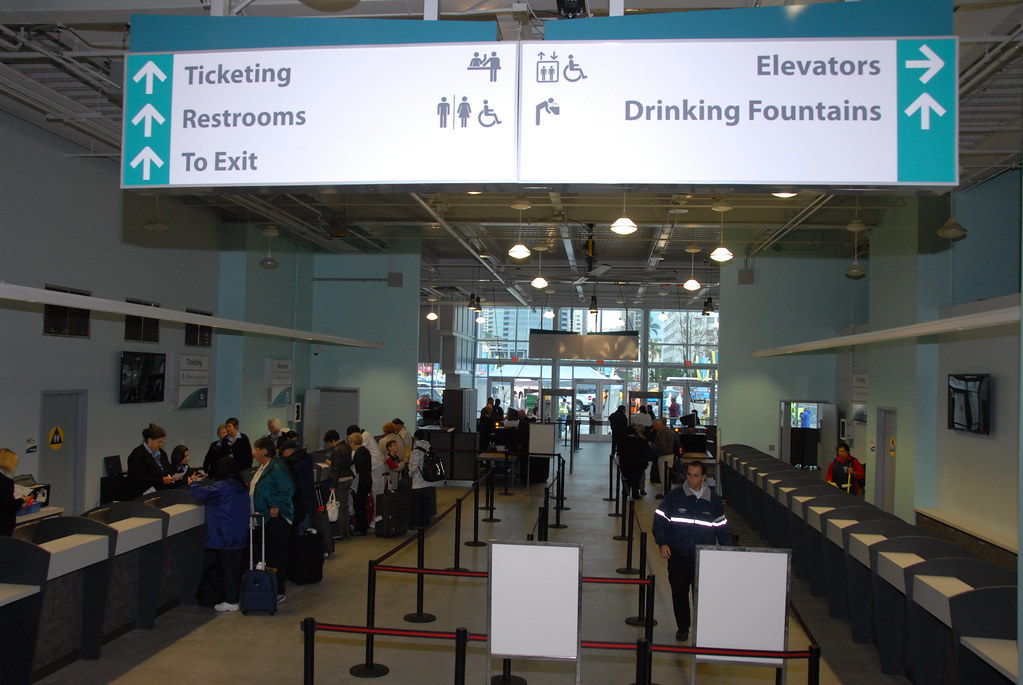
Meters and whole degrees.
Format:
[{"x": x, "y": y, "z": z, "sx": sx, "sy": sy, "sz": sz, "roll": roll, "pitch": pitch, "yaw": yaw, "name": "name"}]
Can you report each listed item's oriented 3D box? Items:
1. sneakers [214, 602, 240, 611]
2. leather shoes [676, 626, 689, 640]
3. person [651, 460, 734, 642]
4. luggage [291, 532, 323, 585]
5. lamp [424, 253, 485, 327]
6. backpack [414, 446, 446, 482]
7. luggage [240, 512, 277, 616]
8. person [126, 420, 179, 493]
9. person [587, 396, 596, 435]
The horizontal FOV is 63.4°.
[{"x": -3.420, "y": 3.158, "z": 9.921, "sx": 0.313, "sy": 0.134, "sz": 0.113, "roll": 5, "pitch": -5, "yaw": 4, "name": "sneakers"}, {"x": 1.905, "y": 3.231, "z": 9.194, "sx": 0.144, "sy": 0.138, "sz": 0.136, "roll": 8, "pitch": -8, "yaw": -40, "name": "leather shoes"}, {"x": 1.960, "y": 2.244, "z": 8.856, "sx": 0.801, "sy": 1.937, "sz": 1.074, "roll": -4, "pitch": -14, "yaw": 13, "name": "person"}, {"x": -2.749, "y": 2.818, "z": 10.946, "sx": 0.436, "sy": 0.623, "sz": 0.376, "roll": 1, "pitch": -1, "yaw": 12, "name": "luggage"}, {"x": -1.955, "y": -1.569, "z": 25.462, "sx": 2.372, "sy": 1.567, "sz": 2.252, "roll": 0, "pitch": -1, "yaw": -13, "name": "lamp"}, {"x": -1.297, "y": 2.046, "z": 13.901, "sx": 0.448, "sy": 0.774, "sz": 0.575, "roll": -10, "pitch": -3, "yaw": 10, "name": "backpack"}, {"x": -3.054, "y": 2.672, "z": 9.847, "sx": 0.425, "sy": 1.067, "sz": 0.320, "roll": -1, "pitch": 4, "yaw": -7, "name": "luggage"}, {"x": -4.870, "y": 1.615, "z": 11.162, "sx": 0.626, "sy": 0.922, "sz": 0.802, "roll": 5, "pitch": -15, "yaw": -23, "name": "person"}, {"x": 2.949, "y": 2.646, "z": 29.963, "sx": 0.286, "sy": 1.381, "sz": 0.394, "roll": -2, "pitch": -13, "yaw": 5, "name": "person"}]
